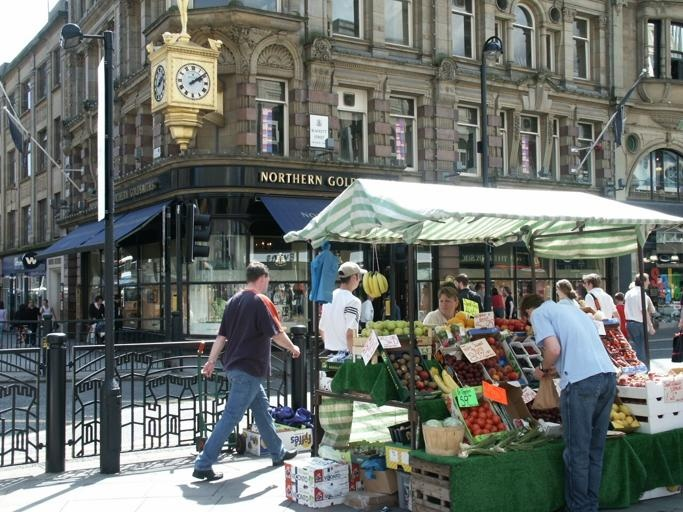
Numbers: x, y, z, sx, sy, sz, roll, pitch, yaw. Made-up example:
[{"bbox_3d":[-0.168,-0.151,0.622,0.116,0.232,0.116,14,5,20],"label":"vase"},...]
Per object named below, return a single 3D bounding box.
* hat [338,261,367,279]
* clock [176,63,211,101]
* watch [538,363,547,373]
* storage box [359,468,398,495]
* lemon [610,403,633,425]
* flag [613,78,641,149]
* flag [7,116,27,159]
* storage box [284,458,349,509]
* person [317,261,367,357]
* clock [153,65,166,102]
[{"bbox_3d":[0.207,0.243,18.127,0.441,0.251,0.286,-3,8,-31],"label":"hat"},{"bbox_3d":[-4.157,-4.884,28.131,0.881,0.943,0.070,12,-1,-42],"label":"clock"},{"bbox_3d":[3.229,1.798,16.563,0.091,0.124,0.066,-6,-14,25],"label":"watch"},{"bbox_3d":[0.603,3.743,16.988,0.631,0.271,0.181,0,0,33],"label":"storage box"},{"bbox_3d":[4.691,2.658,17.146,0.305,0.135,0.321,-3,-16,-7],"label":"lemon"},{"bbox_3d":[10.089,-5.013,36.444,0.656,3.129,0.914,0,5,-13],"label":"flag"},{"bbox_3d":[-12.256,-4.497,38.542,0.561,1.230,3.688,0,0,-18],"label":"flag"},{"bbox_3d":[-0.457,3.773,17.020,1.024,0.834,0.828,-1,-1,44],"label":"storage box"},{"bbox_3d":[-0.027,0.942,18.086,0.758,1.667,1.198,0,0,-1],"label":"person"},{"bbox_3d":[-5.069,-4.845,28.348,0.043,1.004,0.947,-3,7,-27],"label":"clock"}]
